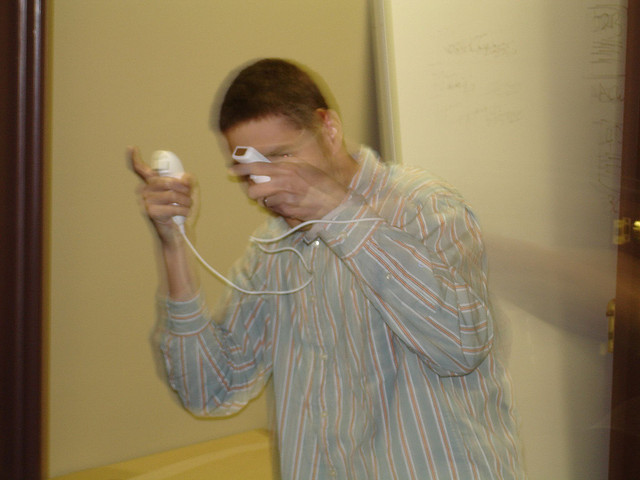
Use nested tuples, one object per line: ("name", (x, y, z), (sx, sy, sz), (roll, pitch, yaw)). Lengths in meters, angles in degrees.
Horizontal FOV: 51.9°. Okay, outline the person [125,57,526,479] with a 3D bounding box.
("person", (-0.025, 0.128, 1.303), (0.700, 0.656, 0.375), (-16, -7, 17))
